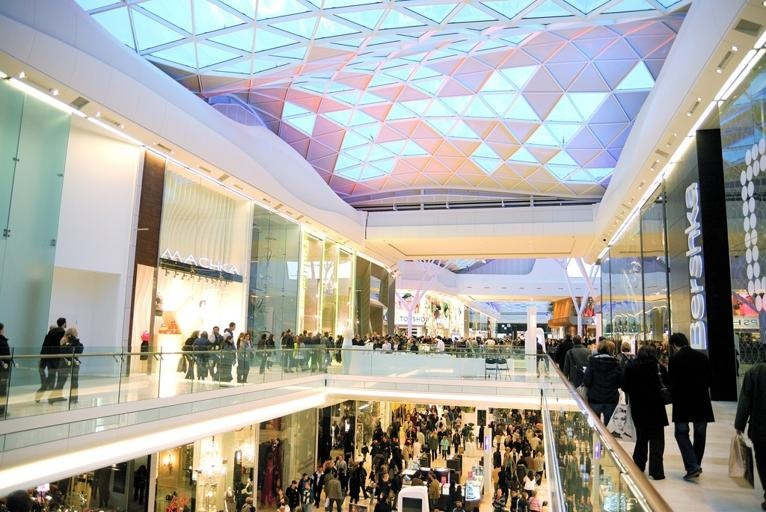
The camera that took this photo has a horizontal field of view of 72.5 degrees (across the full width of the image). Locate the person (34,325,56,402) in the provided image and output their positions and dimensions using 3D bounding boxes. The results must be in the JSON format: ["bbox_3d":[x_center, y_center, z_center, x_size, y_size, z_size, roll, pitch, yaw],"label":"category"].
[{"bbox_3d":[-8.230,2.589,12.848,0.390,1.573,2.875,6,-8,-31],"label":"person"}]

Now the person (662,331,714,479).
[{"bbox_3d":[5.992,2.907,10.191,0.739,2.734,0.490,1,-7,11],"label":"person"}]

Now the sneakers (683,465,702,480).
[{"bbox_3d":[5.906,4.116,9.882,0.351,0.267,0.165,4,-7,-14],"label":"sneakers"}]

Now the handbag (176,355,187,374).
[{"bbox_3d":[-5.707,3.073,14.832,0.075,0.491,0.297,-1,-7,25],"label":"handbag"}]

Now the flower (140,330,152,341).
[{"bbox_3d":[-8.985,2.995,19.719,0.314,0.377,0.584,5,-7,-24],"label":"flower"}]

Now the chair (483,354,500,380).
[{"bbox_3d":[4.689,4.814,22.554,0.729,1.230,0.871,1,-5,9],"label":"chair"}]

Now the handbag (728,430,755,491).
[{"bbox_3d":[6.264,3.554,9.125,0.301,0.925,0.587,-4,-9,40],"label":"handbag"}]
